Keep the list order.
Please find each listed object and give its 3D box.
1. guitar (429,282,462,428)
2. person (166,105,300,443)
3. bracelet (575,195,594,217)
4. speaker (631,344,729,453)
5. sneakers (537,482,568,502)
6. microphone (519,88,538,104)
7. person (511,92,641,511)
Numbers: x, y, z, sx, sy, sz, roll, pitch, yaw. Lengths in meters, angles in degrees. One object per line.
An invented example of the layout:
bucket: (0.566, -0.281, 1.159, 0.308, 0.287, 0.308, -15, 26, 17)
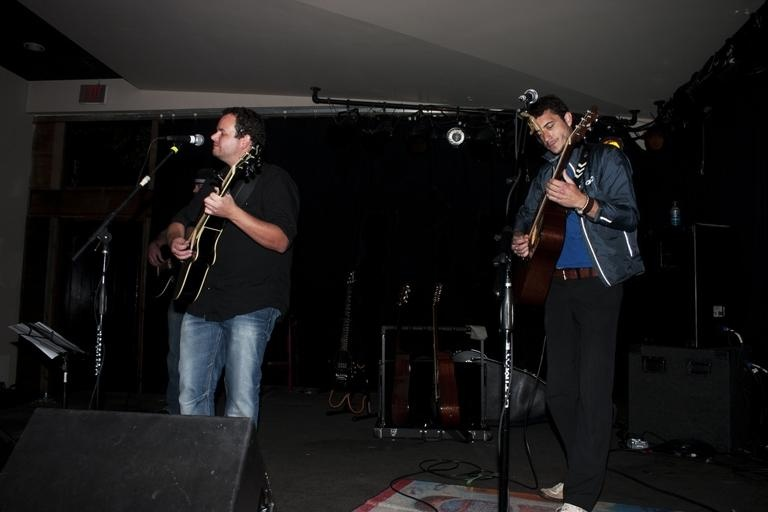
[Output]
guitar: (0.647, 1.019, 5.824, 0.339, 1.453, 0.305, 3, -7, 9)
person: (-1.091, 0.014, 3.978, 0.885, 2.207, 0.657, 4, -7, 0)
bracelet: (1.424, -0.343, 3.976, 0.106, 0.126, 0.058, -17, -42, 43)
speaker: (2.977, 1.300, 5.821, 1.000, 1.082, 0.806, -1, -2, 32)
sneakers: (1.312, 1.823, 4.355, 0.255, 0.106, 0.113, 3, -7, -1)
microphone: (1.036, -1.134, 4.027, 0.102, 0.104, 0.204, 2, -8, 19)
person: (1.417, 0.319, 4.158, 0.889, 3.050, 0.750, 1, -8, 25)
